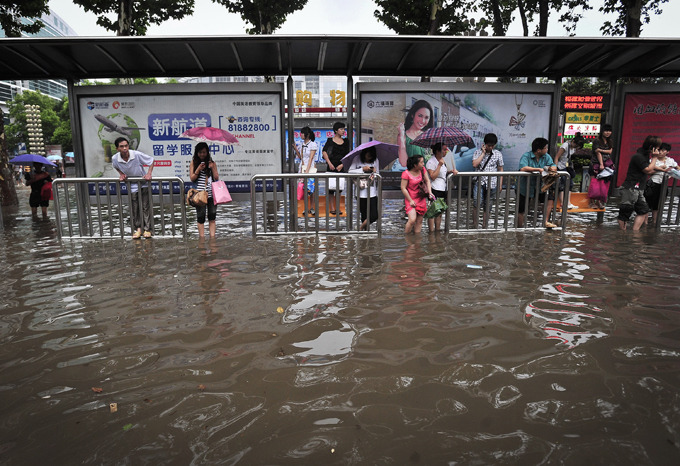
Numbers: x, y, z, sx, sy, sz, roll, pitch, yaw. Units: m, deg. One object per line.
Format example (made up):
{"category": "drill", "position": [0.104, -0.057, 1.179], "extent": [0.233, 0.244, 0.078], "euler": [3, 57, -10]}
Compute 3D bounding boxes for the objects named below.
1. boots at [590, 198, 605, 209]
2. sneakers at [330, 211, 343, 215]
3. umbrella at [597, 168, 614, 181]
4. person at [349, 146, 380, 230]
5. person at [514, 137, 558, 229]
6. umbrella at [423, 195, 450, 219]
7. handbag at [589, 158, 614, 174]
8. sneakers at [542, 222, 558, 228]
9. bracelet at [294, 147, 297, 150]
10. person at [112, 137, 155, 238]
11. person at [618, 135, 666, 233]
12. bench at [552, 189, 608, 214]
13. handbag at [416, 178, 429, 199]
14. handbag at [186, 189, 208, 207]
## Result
{"category": "boots", "position": [8.055, -0.910, 13.148], "extent": [0.234, 0.253, 0.703], "euler": [-3, 4, 8]}
{"category": "sneakers", "position": [-0.128, -0.568, 11.771], "extent": [0.280, 0.074, 0.204], "euler": [4, 6, 35]}
{"category": "umbrella", "position": [7.888, -1.761, 12.485], "extent": [0.432, 0.355, 0.186], "euler": [-1, 7, 4]}
{"category": "person", "position": [0.506, -0.949, 8.952], "extent": [0.625, 1.770, 0.815], "euler": [-1, 7, 3]}
{"category": "person", "position": [4.424, -1.106, 9.376], "extent": [0.851, 2.042, 1.202], "euler": [2, 8, 25]}
{"category": "umbrella", "position": [2.012, -0.538, 8.713], "extent": [0.342, 0.400, 0.450], "euler": [5, 9, 42]}
{"category": "handbag", "position": [7.806, -1.995, 12.542], "extent": [0.577, 0.455, 0.303], "euler": [-1, -9, 32]}
{"category": "sneakers", "position": [4.657, -0.175, 9.363], "extent": [0.355, 0.153, 0.148], "euler": [-2, 7, -6]}
{"category": "bracelet", "position": [-1.278, -2.394, 11.959], "extent": [0.025, 0.084, 0.100], "euler": [-6, 11, -25]}
{"category": "person", "position": [-4.231, -0.936, 8.739], "extent": [0.696, 2.109, 0.974], "euler": [-7, 9, -34]}
{"category": "person", "position": [6.567, -1.073, 9.276], "extent": [0.713, 2.063, 0.447], "euler": [1, 8, 22]}
{"category": "bench", "position": [7.056, -0.882, 12.757], "extent": [2.065, 0.579, 1.349], "euler": [0, 6, -5]}
{"category": "handbag", "position": [1.731, -0.916, 8.952], "extent": [0.331, 0.548, 0.513], "euler": [-3, 6, 10]}
{"category": "handbag", "position": [-2.883, -0.701, 8.486], "extent": [0.412, 0.352, 0.241], "euler": [-3, 7, -10]}
